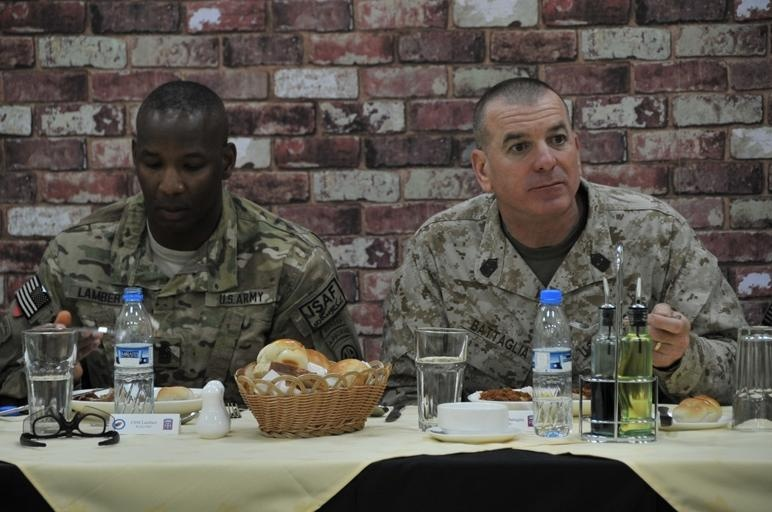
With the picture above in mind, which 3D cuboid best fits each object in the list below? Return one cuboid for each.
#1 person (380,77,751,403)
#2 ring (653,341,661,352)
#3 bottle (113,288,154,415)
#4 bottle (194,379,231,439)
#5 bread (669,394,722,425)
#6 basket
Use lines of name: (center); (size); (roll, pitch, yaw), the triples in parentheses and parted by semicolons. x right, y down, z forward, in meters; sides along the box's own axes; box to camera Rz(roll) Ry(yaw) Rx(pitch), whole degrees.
person: (0.516, 0.091, 3.745); (1.415, 1.517, 1.078); (-5, 4, 8)
ring: (0.822, 0.270, 2.947); (0.019, 0.028, 0.009); (7, 11, 18)
bottle: (-0.752, 0.276, 2.920); (0.117, 0.371, 0.263); (0, -2, -15)
bottle: (-0.489, 0.433, 2.771); (0.100, 0.160, 0.100); (0, -1, 0)
bread: (0.892, 0.437, 2.794); (0.090, 0.038, 0.084); (-6, 5, 32)
basket: (-0.219, 0.419, 2.886); (0.459, 0.207, 0.479); (-5, -8, 8)
